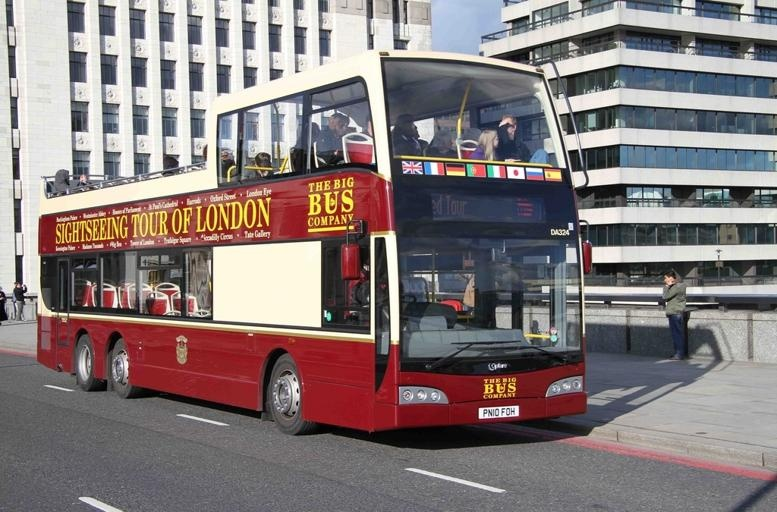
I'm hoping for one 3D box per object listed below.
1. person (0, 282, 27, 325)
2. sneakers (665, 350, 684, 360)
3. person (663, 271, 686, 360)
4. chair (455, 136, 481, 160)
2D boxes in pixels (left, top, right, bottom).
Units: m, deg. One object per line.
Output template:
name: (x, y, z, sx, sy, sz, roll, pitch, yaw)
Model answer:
person: (-20.640, 2.652, 43.027, 0.522, 1.911, 1.407, -4, 8, -43)
sneakers: (7.210, 2.474, 19.431, 0.372, 0.153, 0.159, 5, -7, -28)
person: (7.174, 1.477, 19.404, 0.513, 2.098, 0.867, 0, 4, 20)
chair: (1.262, -1.656, 12.090, 0.334, 0.319, 0.340, -1, -5, 34)
